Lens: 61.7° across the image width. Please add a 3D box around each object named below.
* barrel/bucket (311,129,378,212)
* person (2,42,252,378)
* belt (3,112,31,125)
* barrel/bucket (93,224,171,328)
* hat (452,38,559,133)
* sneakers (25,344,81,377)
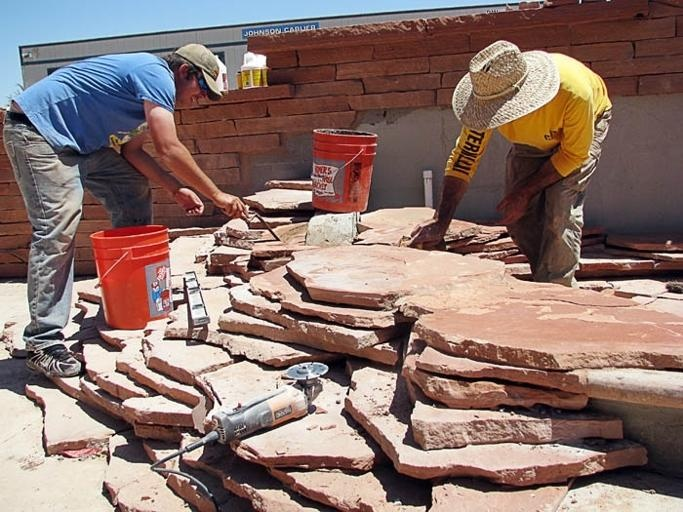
[{"bbox_3d":[-0.081,-0.694,4.747,0.581,0.651,0.534,9,14,-2],"label":"barrel/bucket"},{"bbox_3d":[-1.639,-0.307,3.882,1.253,2.046,0.841,-9,19,-23],"label":"person"},{"bbox_3d":[-2.085,-0.882,3.638,0.205,0.099,0.090,6,18,26],"label":"belt"},{"bbox_3d":[-1.471,0.118,4.105,0.626,0.683,0.602,6,13,-1],"label":"barrel/bucket"},{"bbox_3d":[1.089,-1.126,3.782,0.681,0.548,0.573,2,16,11],"label":"hat"},{"bbox_3d":[-1.910,0.680,3.749,0.406,0.213,0.131,3,18,16],"label":"sneakers"}]
